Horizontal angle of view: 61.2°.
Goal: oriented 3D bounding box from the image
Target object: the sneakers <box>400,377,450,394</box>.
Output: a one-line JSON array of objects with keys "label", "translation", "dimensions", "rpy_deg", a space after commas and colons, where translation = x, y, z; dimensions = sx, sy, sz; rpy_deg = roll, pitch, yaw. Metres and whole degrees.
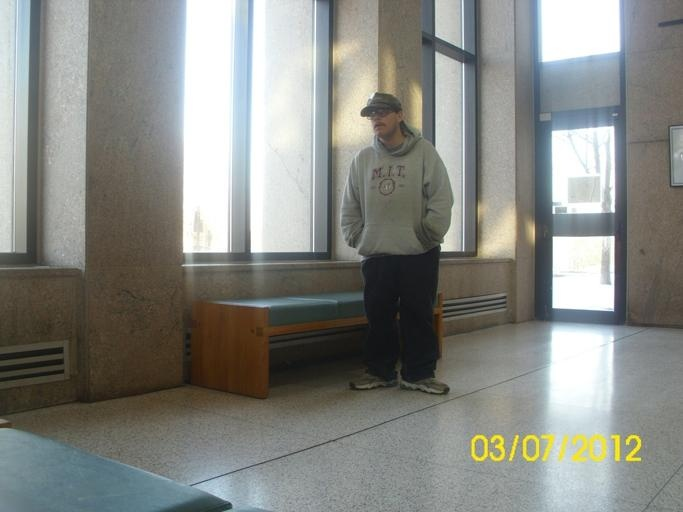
[{"label": "sneakers", "translation": [0.508, 0.783, 3.565], "dimensions": [0.278, 0.139, 0.102], "rpy_deg": [-5, -6, 32]}]

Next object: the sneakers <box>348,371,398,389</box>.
[{"label": "sneakers", "translation": [0.197, 0.775, 3.690], "dimensions": [0.301, 0.144, 0.115], "rpy_deg": [4, -5, -24]}]

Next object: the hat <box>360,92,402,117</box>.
[{"label": "hat", "translation": [0.249, -0.949, 3.532], "dimensions": [0.137, 0.080, 0.204], "rpy_deg": [-7, -1, 32]}]
